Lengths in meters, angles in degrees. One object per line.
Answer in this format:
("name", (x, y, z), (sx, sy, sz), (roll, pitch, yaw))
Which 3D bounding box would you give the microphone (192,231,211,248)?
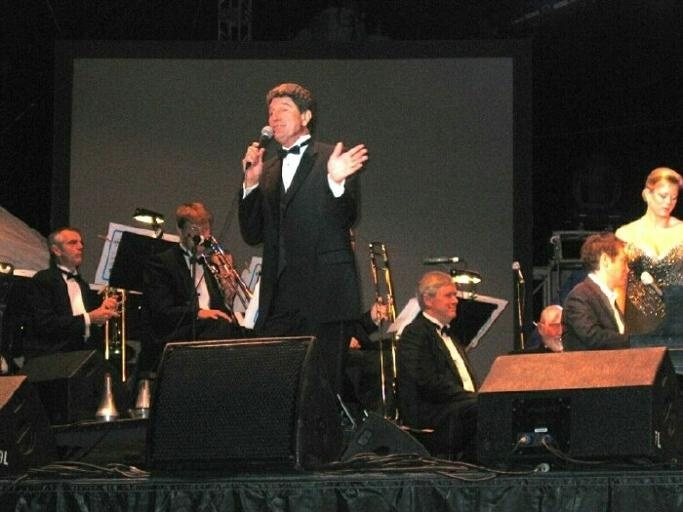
("microphone", (-1.101, -0.131, 7.392), (0.095, 0.143, 0.099), (8, 3, -1))

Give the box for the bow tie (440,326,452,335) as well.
("bow tie", (0.766, 0.549, 7.008), (0.023, 0.066, 0.076), (5, 5, 30))

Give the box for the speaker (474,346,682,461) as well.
("speaker", (1.153, 0.742, 4.759), (0.923, 0.583, 0.303), (1, 1, 7))

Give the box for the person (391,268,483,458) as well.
("person", (0.666, 0.720, 6.625), (0.582, 1.197, 1.081), (1, 1, 7))

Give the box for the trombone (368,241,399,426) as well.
("trombone", (0.320, 0.566, 7.459), (0.194, 1.378, 0.252), (-11, -17, 23))

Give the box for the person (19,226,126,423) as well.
("person", (-2.225, 0.277, 7.892), (0.753, 1.034, 0.740), (1, 1, -17))

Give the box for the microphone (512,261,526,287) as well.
("microphone", (1.757, 0.167, 9.404), (0.128, 0.242, 0.423), (1, 1, 10))

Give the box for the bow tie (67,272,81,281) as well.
("bow tie", (-2.292, 0.173, 8.080), (0.071, 0.023, 0.075), (-1, -37, 4))

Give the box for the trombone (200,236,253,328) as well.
("trombone", (-0.936, 0.232, 7.605), (0.233, 0.203, 0.911), (-26, -50, 12))

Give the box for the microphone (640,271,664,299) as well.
("microphone", (1.934, 0.170, 5.911), (0.126, 0.131, 0.045), (32, 6, 18))

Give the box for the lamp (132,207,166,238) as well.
("lamp", (-1.802, -0.318, 8.804), (0.239, 0.315, 0.306), (-17, -2, -6))
